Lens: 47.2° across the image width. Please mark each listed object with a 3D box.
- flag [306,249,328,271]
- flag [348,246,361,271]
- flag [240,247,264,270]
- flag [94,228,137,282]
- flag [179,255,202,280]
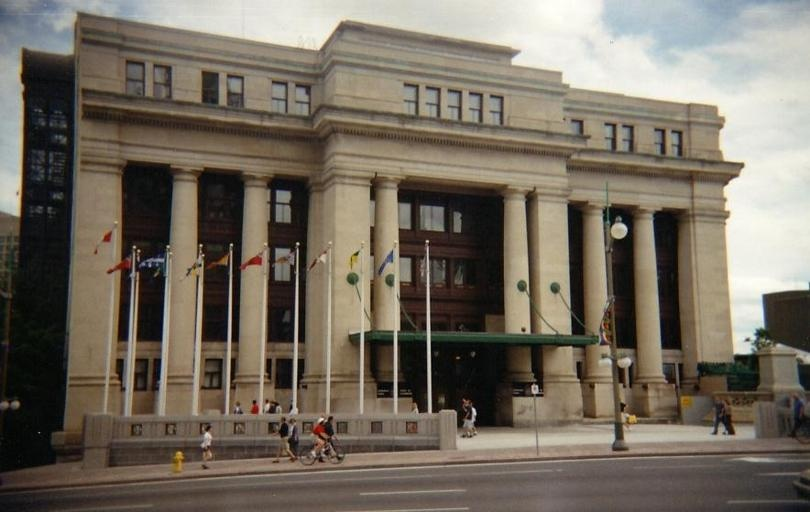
[{"bbox_3d":[-7.304,0.313,78.323,0.280,1.417,1.934,7,-6,-42],"label":"flag"},{"bbox_3d":[-4.143,0.268,77.055,0.261,1.797,1.892,-4,9,-44],"label":"flag"},{"bbox_3d":[-12.534,0.151,76.718,1.918,1.781,0.264,1,7,-4],"label":"flag"},{"bbox_3d":[-23.473,-0.015,74.977,3.615,0.548,3.895,39,-47,-6],"label":"flag"},{"bbox_3d":[-17.490,0.897,75.502,2.350,1.054,1.482,-15,1,-36],"label":"flag"}]
